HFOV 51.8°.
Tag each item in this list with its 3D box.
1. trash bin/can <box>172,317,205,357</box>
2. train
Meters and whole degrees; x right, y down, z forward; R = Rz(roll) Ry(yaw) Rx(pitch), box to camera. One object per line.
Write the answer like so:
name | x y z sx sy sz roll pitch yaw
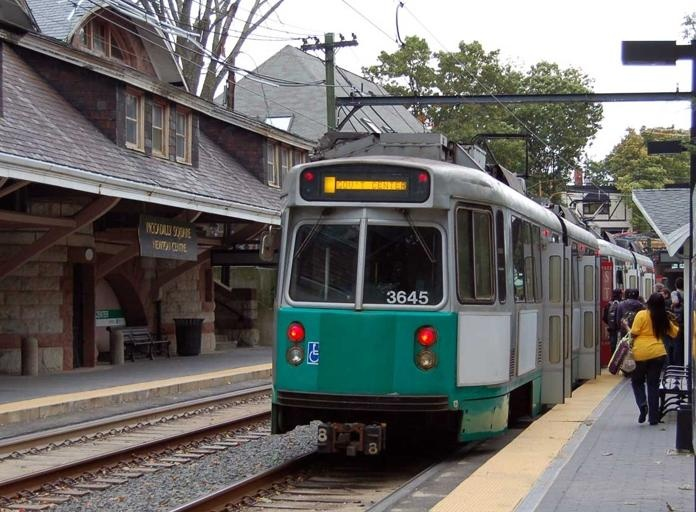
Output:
trash bin/can | -5.646 2.946 25.204 1.084 1.508 1.207 -3 -9 20
train | 2.188 0.743 10.828 2.038 3.520 7.627 -8 -9 43
